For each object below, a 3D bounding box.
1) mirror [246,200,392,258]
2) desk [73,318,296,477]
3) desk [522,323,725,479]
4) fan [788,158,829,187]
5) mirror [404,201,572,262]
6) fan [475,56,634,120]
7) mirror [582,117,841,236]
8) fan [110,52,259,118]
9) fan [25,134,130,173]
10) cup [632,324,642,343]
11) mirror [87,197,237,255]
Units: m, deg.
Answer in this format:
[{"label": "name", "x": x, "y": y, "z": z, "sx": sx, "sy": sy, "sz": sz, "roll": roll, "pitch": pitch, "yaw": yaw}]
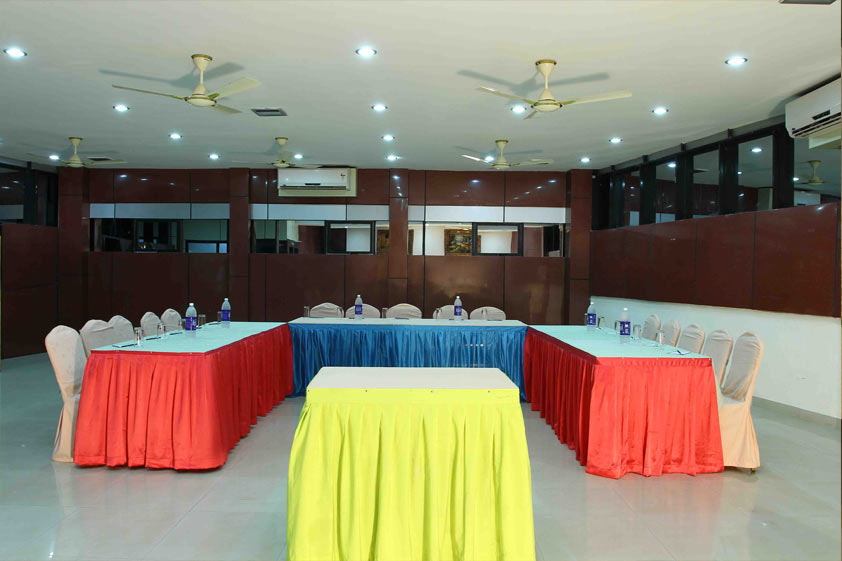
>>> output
[{"label": "mirror", "x": -1.873, "y": -0.956, "z": 11.924, "sx": 2.479, "sy": 0.889, "sz": 0.367, "roll": -1, "pitch": 5, "yaw": 9}, {"label": "desk", "x": -2.580, "y": 1.276, "z": 6.891, "sx": 1.433, "sy": 0.907, "sz": 2.667, "roll": -1, "pitch": -4, "yaw": 4}, {"label": "desk", "x": 2.298, "y": 1.320, "z": 7.004, "sx": 1.258, "sy": 0.904, "sz": 1.951, "roll": -1, "pitch": 1, "yaw": -10}, {"label": "fan", "x": 5.117, "y": -1.407, "z": 8.548, "sx": 0.332, "sy": 0.340, "sz": 0.332, "roll": 2, "pitch": 0, "yaw": -7}, {"label": "mirror", "x": 1.073, "y": -0.939, "z": 11.882, "sx": 2.578, "sy": 0.930, "sz": 0.146, "roll": -1, "pitch": 5, "yaw": -2}, {"label": "fan", "x": 1.521, "y": -2.229, "z": 7.730, "sx": 1.408, "sy": 0.576, "sz": 1.495, "roll": -1, "pitch": 4, "yaw": 3}, {"label": "mirror", "x": 4.284, "y": -1.540, "z": 9.779, "sx": 0.554, "sy": 1.332, "sz": 3.899, "roll": -4, "pitch": 5, "yaw": -31}, {"label": "fan", "x": -2.586, "y": -2.268, "z": 7.617, "sx": 1.042, "sy": 0.380, "sz": 1.004, "roll": -12, "pitch": -17, "yaw": 33}, {"label": "fan", "x": -5.555, "y": -1.998, "z": 10.645, "sx": 0.928, "sy": 0.382, "sz": 0.973, "roll": -1, "pitch": 1, "yaw": 6}, {"label": "cup", "x": 2.584, "y": 0.628, "z": 7.729, "sx": 0.149, "sy": 0.201, "sz": 0.150, "roll": 2, "pitch": -8, "yaw": 0}, {"label": "mirror", "x": -4.872, "y": -0.968, "z": 12.015, "sx": 2.594, "sy": 0.948, "sz": 0.103, "roll": -1, "pitch": 5, "yaw": 2}]
